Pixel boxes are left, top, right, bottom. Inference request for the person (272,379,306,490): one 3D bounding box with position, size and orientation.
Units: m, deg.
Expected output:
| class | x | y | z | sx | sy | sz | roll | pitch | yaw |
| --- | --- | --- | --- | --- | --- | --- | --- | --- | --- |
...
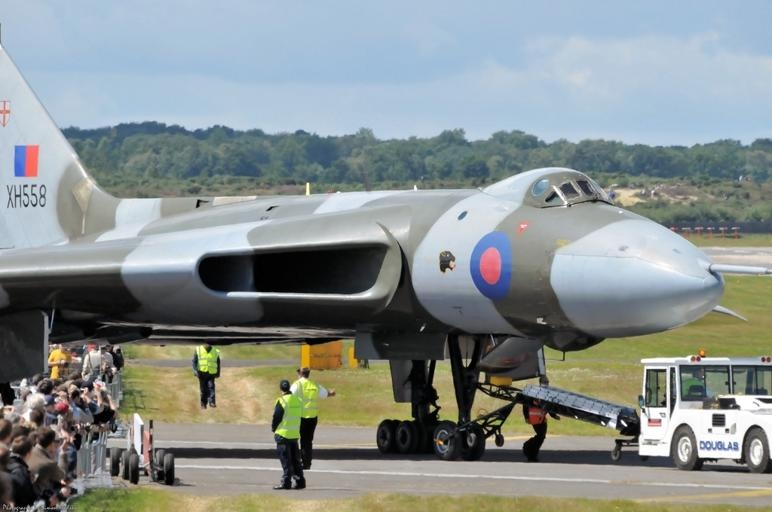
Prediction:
| class | x | y | z | sx | sy | sz | roll | pitch | yaw |
| --- | --- | --- | --- | --- | --- | --- | --- | --- | --- |
| person | -1.844 | 3.342 | 22.172 | 0.591 | 1.991 | 0.700 | -1 | -3 | -5 |
